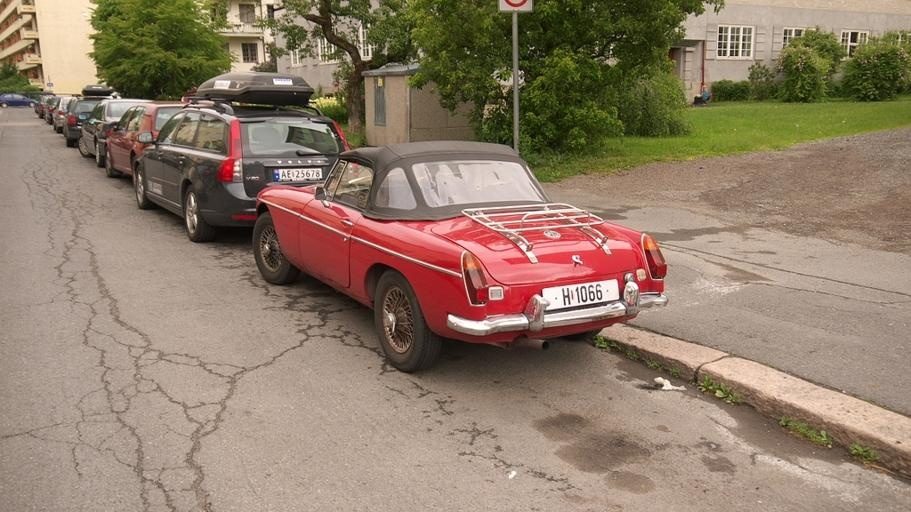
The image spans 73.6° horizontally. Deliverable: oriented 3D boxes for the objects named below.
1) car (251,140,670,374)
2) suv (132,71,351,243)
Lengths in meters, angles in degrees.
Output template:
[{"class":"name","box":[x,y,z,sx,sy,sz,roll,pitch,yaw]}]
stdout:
[{"class":"car","box":[-0.113,-0.116,7.862,4.962,2.642,2.131,10,17,36]},{"class":"suv","box":[-4.701,-2.330,12.489,2.770,1.963,5.381,-8,20,-37]}]
